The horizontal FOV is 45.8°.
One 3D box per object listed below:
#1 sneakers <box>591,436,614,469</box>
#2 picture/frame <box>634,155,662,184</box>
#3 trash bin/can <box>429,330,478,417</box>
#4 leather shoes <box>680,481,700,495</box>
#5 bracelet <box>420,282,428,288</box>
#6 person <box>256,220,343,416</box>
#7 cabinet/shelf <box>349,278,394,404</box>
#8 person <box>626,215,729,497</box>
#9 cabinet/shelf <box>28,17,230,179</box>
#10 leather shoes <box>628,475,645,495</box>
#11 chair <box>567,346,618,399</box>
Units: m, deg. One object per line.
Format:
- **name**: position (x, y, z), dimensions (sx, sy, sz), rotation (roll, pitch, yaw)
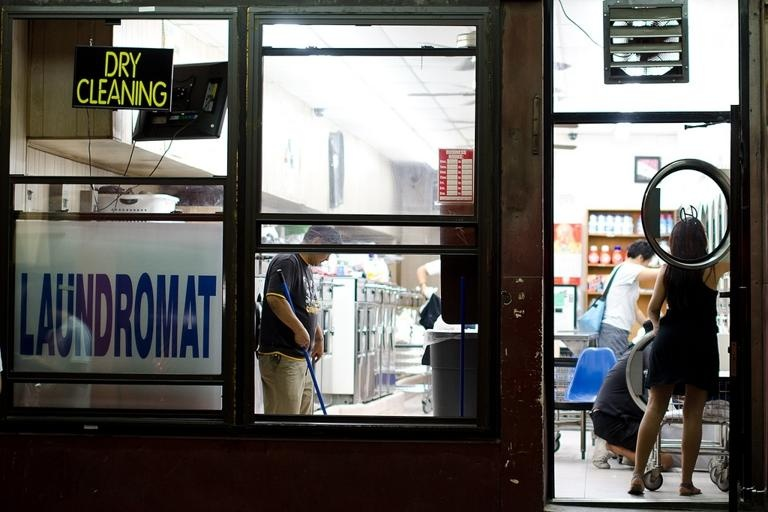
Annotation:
- **sneakers**: position (1.728, 1.554, 7.228), dimensions (0.128, 0.293, 0.299), rotation (1, 1, 31)
- **picture/frame**: position (3.235, -1.083, 11.286), dimensions (0.320, 0.356, 0.106), rotation (0, -4, 16)
- **trash bin/can**: position (0.442, 0.759, 5.990), dimensions (0.296, 0.547, 0.585), rotation (1, -3, 2)
- **leather shoes**: position (2.075, 1.579, 6.206), dimensions (0.183, 0.086, 0.082), rotation (2, -3, -29)
- **bracelet**: position (0.417, 0.316, 10.153), dimensions (0.061, 0.067, 0.039), rotation (8, -26, 28)
- **person**: position (-0.658, 0.479, 6.451), dimensions (0.481, 1.344, 1.053), rotation (1, -3, -7)
- **cabinet/shelf**: position (-0.163, 0.835, 9.265), dimensions (0.506, 1.164, 1.271), rotation (-1, -4, 8)
- **person**: position (2.024, 0.842, 6.326), dimensions (0.646, 1.621, 0.238), rotation (0, -4, 20)
- **cabinet/shelf**: position (-1.378, -1.062, 5.843), dimensions (1.038, 0.936, 0.243), rotation (6, -4, 9)
- **leather shoes**: position (1.726, 1.588, 6.304), dimensions (0.101, 0.121, 0.079), rotation (0, -3, 12)
- **chair**: position (1.657, 0.969, 7.603), dimensions (0.419, 0.438, 0.405), rotation (14, -1, 7)
